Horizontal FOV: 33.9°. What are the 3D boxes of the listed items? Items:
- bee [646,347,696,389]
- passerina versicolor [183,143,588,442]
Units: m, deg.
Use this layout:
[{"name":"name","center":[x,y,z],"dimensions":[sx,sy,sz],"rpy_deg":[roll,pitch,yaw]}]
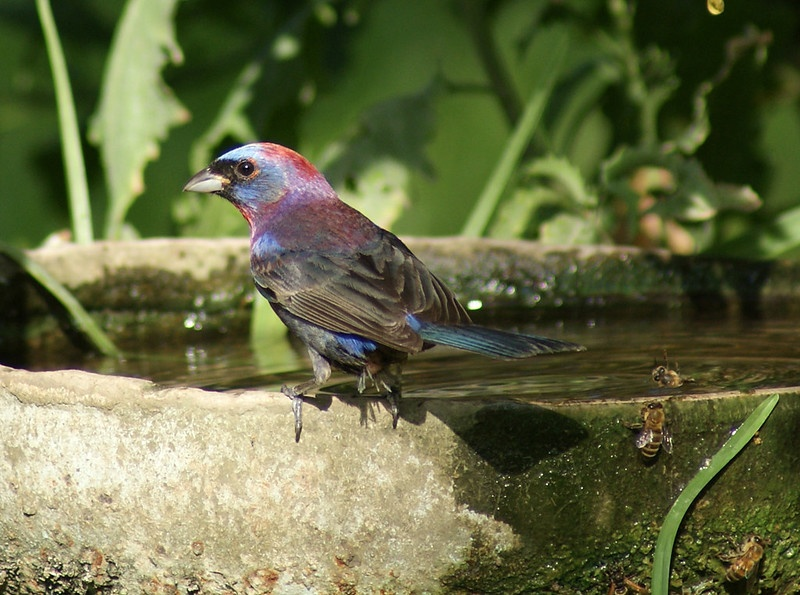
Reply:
[{"name":"bee","center":[1.415,0.394,6.730],"dimensions":[0.278,0.227,0.088],"rpy_deg":[6,7,6]},{"name":"passerina versicolor","center":[-0.110,0.023,7.133],"dimensions":[2.420,1.518,0.948],"rpy_deg":[10,14,36]}]
